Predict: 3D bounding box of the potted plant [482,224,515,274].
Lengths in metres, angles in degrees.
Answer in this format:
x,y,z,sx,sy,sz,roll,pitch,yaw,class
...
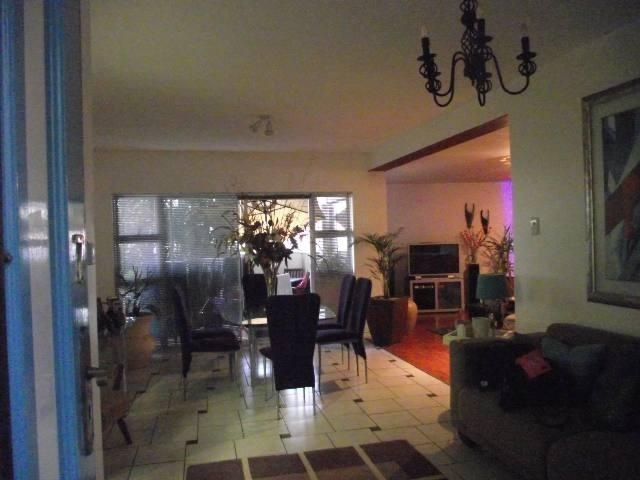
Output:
x,y,z,sx,sy,sz,roll,pitch,yaw,class
3.224,0.234,9.744,0.543,0.883,1.825,-1,3,18,potted plant

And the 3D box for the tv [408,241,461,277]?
x,y,z,sx,sy,sz,roll,pitch,yaw,class
2.061,0.370,9.830,1.034,0.662,0.556,0,-3,-4,tv

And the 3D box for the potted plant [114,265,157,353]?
x,y,z,sx,sy,sz,roll,pitch,yaw,class
-2.395,0.909,6.885,0.556,1.157,0.609,2,1,20,potted plant

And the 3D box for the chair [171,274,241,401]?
x,y,z,sx,sy,sz,roll,pitch,yaw,class
-1.143,0.974,5.525,0.783,0.926,0.764,-2,-3,10,chair

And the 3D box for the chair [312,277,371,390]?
x,y,z,sx,sy,sz,roll,pitch,yaw,class
0.147,0.904,5.568,0.690,1.066,0.634,1,6,-10,chair

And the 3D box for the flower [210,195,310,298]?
x,y,z,sx,sy,sz,roll,pitch,yaw,class
-0.549,0.166,5.346,0.589,0.635,0.664,8,13,24,flower

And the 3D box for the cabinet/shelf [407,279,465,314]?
x,y,z,sx,sy,sz,roll,pitch,yaw,class
2.133,1.003,10.007,0.980,0.603,0.531,-2,2,2,cabinet/shelf

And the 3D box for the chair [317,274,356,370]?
x,y,z,sx,sy,sz,roll,pitch,yaw,class
0.117,0.895,5.981,0.579,0.935,0.530,-9,4,-5,chair

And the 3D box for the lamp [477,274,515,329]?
x,y,z,sx,sy,sz,roll,pitch,yaw,class
1.544,0.538,4.835,0.295,0.467,0.298,-1,1,11,lamp

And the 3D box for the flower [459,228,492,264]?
x,y,z,sx,sy,sz,roll,pitch,yaw,class
3.003,0.162,10.416,0.552,0.678,0.440,6,14,23,flower
